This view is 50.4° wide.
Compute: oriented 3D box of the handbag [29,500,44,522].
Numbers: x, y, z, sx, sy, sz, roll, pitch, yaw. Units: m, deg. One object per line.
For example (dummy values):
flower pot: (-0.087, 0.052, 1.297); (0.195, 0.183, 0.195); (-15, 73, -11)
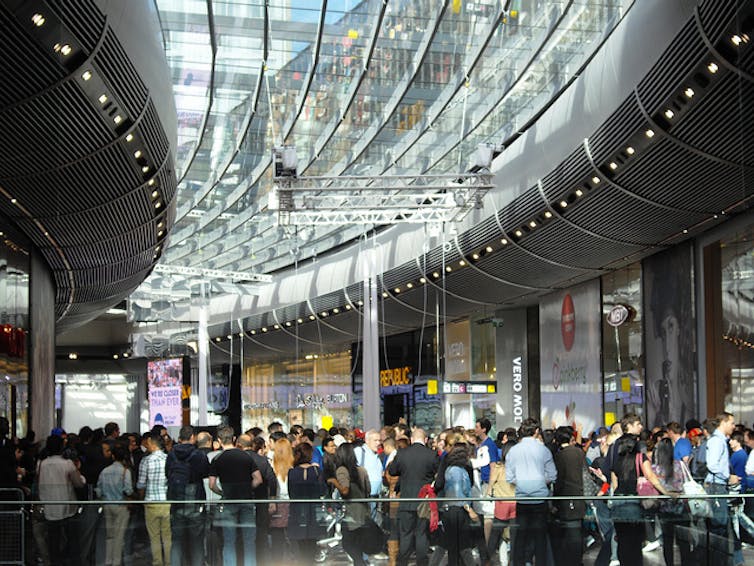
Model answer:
handbag: (-3.672, 2.470, 8.637); (0.143, 0.177, 0.073); (3, -14, -15)

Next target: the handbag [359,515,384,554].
handbag: (-0.050, 2.694, 8.569); (0.249, 0.375, 0.121); (-3, 6, -6)

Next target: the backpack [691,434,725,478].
backpack: (4.444, 2.336, 10.753); (0.278, 0.564, 0.422); (16, -26, 13)

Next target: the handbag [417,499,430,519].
handbag: (0.493, 2.423, 8.582); (0.114, 0.160, 0.065); (-1, -14, 1)
